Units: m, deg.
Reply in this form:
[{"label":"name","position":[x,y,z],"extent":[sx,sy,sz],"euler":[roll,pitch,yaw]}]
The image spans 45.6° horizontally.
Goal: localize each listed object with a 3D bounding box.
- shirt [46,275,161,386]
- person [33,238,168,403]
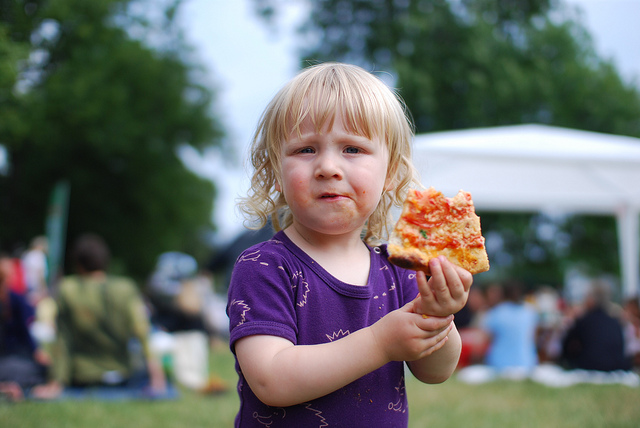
[{"label":"shirt","position":[-2.196,1.141,7.630],"extent":[0.924,1.034,1.512],"euler":[0,11,-15]},{"label":"person","position":[-2.317,1.119,7.986],"extent":[1.218,1.476,0.849],"euler":[13,-43,-25]}]
